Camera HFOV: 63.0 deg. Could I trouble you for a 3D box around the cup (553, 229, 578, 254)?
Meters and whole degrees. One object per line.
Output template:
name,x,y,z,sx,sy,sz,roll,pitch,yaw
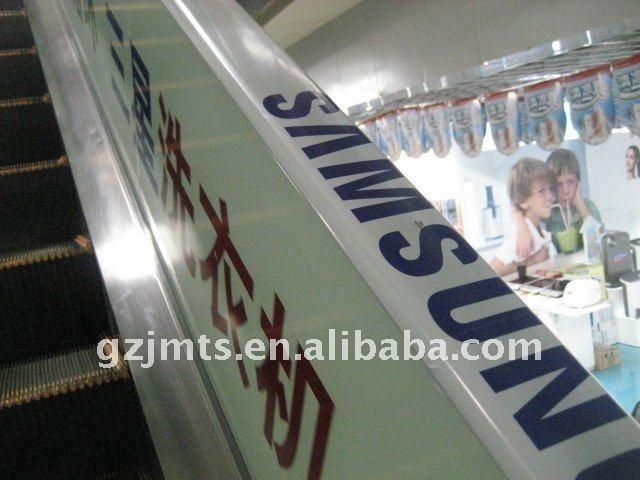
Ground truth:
cup,2.107,0.008,4.492,0.158,0.299,0.229,-1,1,-11
